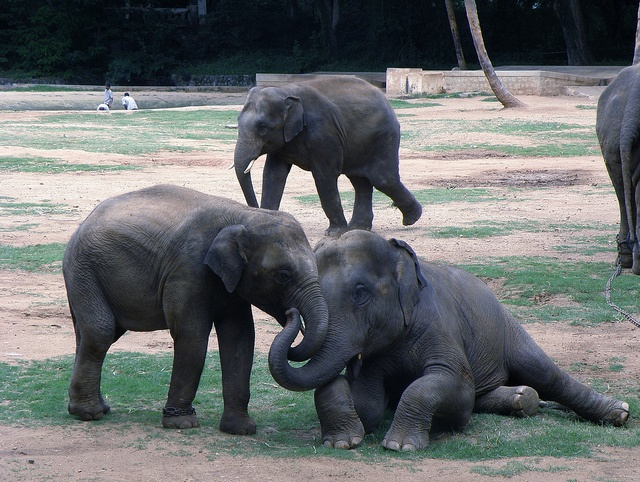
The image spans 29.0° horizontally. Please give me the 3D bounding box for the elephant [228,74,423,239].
[{"bbox_3d":[0.145,-1.096,16.027,2.794,2.033,1.103,-6,11,-26],"label":"elephant"}]

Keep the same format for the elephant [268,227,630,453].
[{"bbox_3d":[1.039,0.950,11.958,3.941,1.894,1.997,3,-9,-45],"label":"elephant"}]
